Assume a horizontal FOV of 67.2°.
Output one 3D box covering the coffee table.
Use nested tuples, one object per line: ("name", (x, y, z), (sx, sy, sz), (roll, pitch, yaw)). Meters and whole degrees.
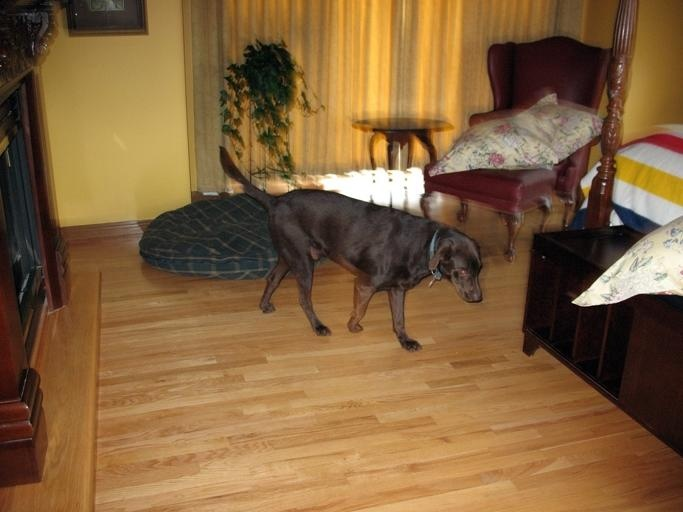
("coffee table", (0.585, -1.032, 5.064), (0.916, 0.488, 0.848), (-10, 21, -26))

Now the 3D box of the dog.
("dog", (0.006, 0.059, 2.964), (1.748, 0.818, 0.419), (12, 19, 29))

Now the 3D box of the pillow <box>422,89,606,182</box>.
("pillow", (1.527, -0.964, 4.176), (1.104, 0.193, 0.722), (-31, 37, -34))
